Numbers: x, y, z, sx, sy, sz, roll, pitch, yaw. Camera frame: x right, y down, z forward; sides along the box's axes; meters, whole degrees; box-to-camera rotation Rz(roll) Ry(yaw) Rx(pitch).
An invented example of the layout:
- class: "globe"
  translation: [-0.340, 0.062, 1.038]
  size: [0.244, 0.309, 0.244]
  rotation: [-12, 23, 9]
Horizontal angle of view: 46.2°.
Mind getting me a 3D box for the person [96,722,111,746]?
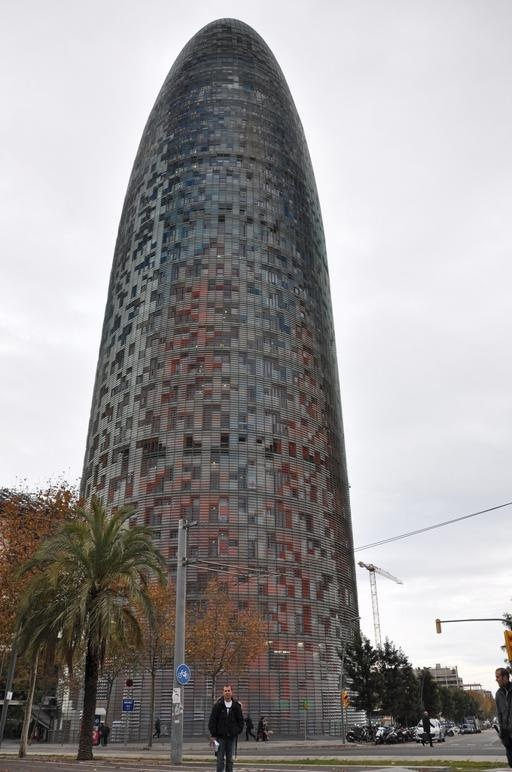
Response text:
- class: "person"
  translation: [-10.513, 24.095, 41.194]
  size: [0.727, 1.272, 2.166]
  rotation: [5, -25, -13]
